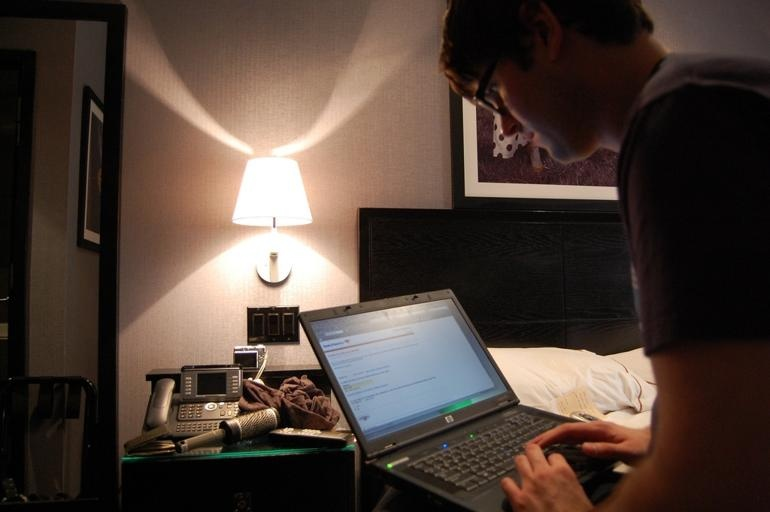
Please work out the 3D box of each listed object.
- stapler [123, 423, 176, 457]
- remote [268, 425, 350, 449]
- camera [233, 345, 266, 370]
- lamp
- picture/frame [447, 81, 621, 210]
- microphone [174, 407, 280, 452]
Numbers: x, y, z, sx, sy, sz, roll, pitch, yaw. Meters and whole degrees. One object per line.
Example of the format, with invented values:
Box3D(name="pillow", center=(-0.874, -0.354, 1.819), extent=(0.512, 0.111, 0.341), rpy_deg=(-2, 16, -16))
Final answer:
Box3D(name="stapler", center=(-0.730, 0.564, 1.782), extent=(0.112, 0.038, 0.105), rpy_deg=(-6, 9, -11))
Box3D(name="remote", center=(-0.236, 0.562, 1.808), extent=(0.180, 0.029, 0.095), rpy_deg=(1, -1, 2))
Box3D(name="camera", center=(-0.531, 0.388, 2.242), extent=(0.121, 0.094, 0.145), rpy_deg=(-9, 2, -16))
Box3D(name="lamp", center=(-0.449, -0.129, 2.273), extent=(0.322, 0.492, 0.254), rpy_deg=(-9, 2, -7))
Box3D(name="picture/frame", center=(0.443, -0.357, 1.945), extent=(0.727, 0.473, 0.018), rpy_deg=(1, -10, -12))
Box3D(name="microphone", center=(-0.464, 0.528, 1.842), extent=(0.367, 0.098, 0.104), rpy_deg=(-7, -1, -38))
